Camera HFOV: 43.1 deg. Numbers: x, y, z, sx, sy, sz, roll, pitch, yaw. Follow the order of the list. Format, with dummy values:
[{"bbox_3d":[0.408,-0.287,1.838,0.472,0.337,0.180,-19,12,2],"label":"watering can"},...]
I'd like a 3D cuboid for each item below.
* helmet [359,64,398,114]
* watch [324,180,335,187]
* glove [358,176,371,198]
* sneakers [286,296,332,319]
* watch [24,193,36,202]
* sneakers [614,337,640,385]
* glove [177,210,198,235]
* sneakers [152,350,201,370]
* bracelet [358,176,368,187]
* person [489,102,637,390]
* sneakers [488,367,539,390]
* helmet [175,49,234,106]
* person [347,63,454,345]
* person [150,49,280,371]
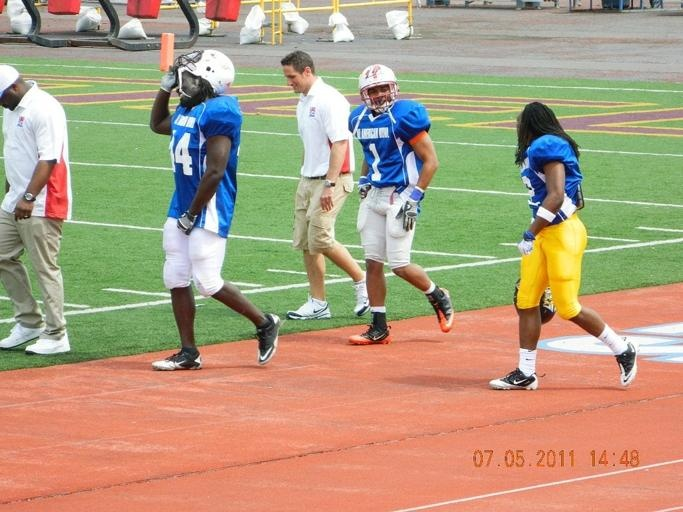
[{"bbox_3d":[0.308,-1.425,7.368,0.317,0.395,0.277,-2,11,0],"label":"helmet"},{"bbox_3d":[-0.123,-0.658,7.867,0.088,0.042,0.085,-1,11,-39],"label":"watch"},{"bbox_3d":[0.250,-0.617,7.838,0.088,0.167,0.149,12,7,-28],"label":"glove"},{"bbox_3d":[-0.316,0.525,8.466,0.529,0.173,0.165,1,0,-11],"label":"sneakers"},{"bbox_3d":[-2.502,-0.471,6.923,0.088,0.079,0.067,-5,11,-17],"label":"watch"},{"bbox_3d":[1.996,0.742,6.128,0.207,0.324,0.134,9,-8,-16],"label":"sneakers"},{"bbox_3d":[-1.153,-0.246,6.504,0.119,0.195,0.087,47,3,-1],"label":"glove"},{"bbox_3d":[-1.263,0.824,6.820,0.466,0.134,0.137,2,2,-6],"label":"sneakers"},{"bbox_3d":[0.230,-0.671,7.856,0.131,0.086,0.107,-5,14,-17],"label":"bracelet"},{"bbox_3d":[1.511,-0.049,6.035,0.951,2.003,0.486,0,13,13],"label":"person"},{"bbox_3d":[1.226,0.879,6.172,0.425,0.126,0.125,2,0,0],"label":"sneakers"},{"bbox_3d":[-1.048,-1.377,6.686,0.648,0.340,0.393,2,20,-2],"label":"helmet"},{"bbox_3d":[0.483,-0.435,7.505,0.870,2.381,0.581,-2,12,5],"label":"person"},{"bbox_3d":[-1.149,-0.354,6.764,0.913,2.481,0.871,-9,14,-28],"label":"person"}]
